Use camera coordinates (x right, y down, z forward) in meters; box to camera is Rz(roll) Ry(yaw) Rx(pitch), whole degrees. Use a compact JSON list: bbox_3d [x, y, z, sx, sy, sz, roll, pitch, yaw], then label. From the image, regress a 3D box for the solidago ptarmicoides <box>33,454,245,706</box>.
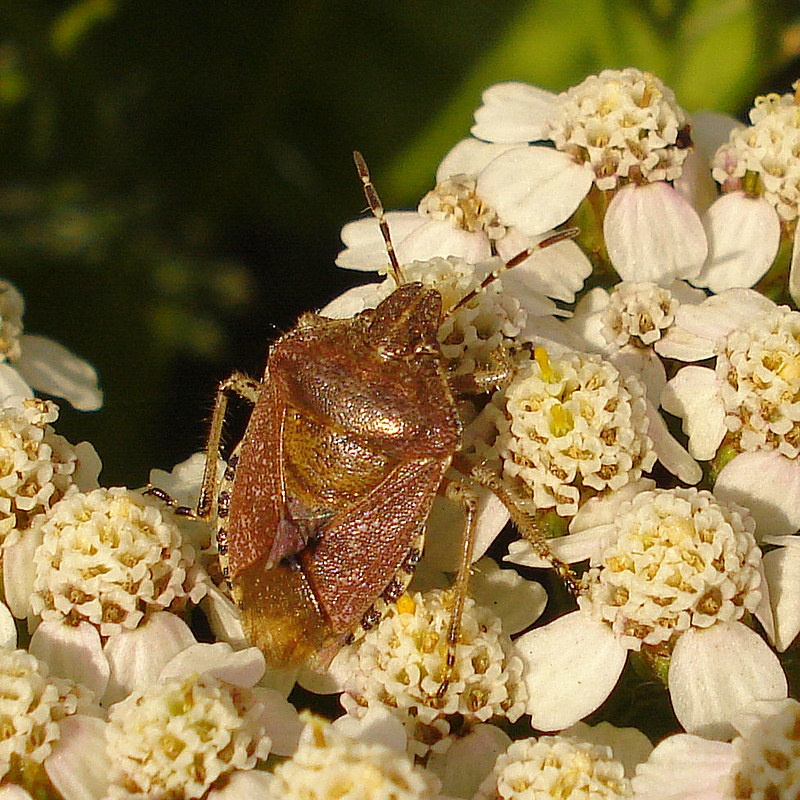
[{"bbox_3d":[-0.843,0.587,4.034,0.685,0.279,0.593,-5,84,-20],"label":"solidago ptarmicoides"}]
